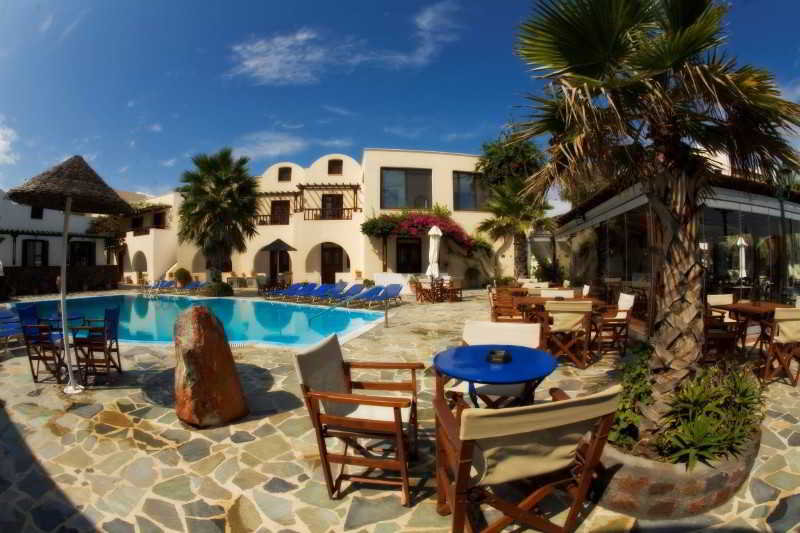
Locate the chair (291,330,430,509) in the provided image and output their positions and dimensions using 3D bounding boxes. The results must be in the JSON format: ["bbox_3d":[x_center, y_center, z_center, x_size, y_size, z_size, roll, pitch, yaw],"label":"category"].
[{"bbox_3d":[-0.466,2.049,6.784,1.592,2.188,1.559,-1,1,9],"label":"chair"}]
